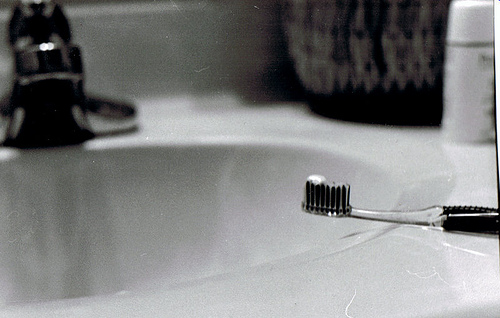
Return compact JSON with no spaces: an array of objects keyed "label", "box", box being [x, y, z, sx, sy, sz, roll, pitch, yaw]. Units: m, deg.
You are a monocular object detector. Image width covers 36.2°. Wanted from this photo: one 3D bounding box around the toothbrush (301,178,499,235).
[{"label":"toothbrush","box":[0.258,0.084,1.260,0.433,0.081,0.066,2,3,10]}]
